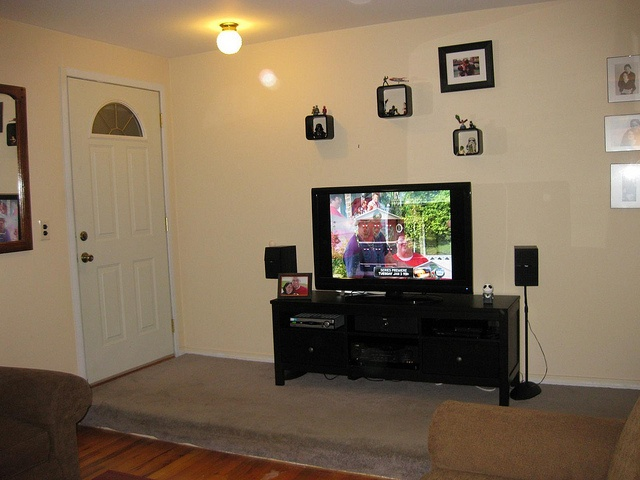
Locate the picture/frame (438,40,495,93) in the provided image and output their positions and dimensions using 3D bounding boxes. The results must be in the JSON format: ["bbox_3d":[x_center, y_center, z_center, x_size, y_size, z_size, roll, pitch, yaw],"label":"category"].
[{"bbox_3d":[1.171,-1.387,4.321,0.406,0.370,0.032,0,10,24],"label":"picture/frame"}]

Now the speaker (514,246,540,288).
[{"bbox_3d":[1.517,0.194,4.053,0.152,0.292,0.141,0,4,16],"label":"speaker"}]

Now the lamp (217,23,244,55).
[{"bbox_3d":[-0.717,-1.594,4.390,0.235,0.294,0.239,0,-1,-5],"label":"lamp"}]

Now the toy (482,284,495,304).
[{"bbox_3d":[1.250,0.404,4.083,0.105,0.192,0.095,-1,-5,26],"label":"toy"}]

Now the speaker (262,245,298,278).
[{"bbox_3d":[-0.320,0.185,4.689,0.296,0.264,0.200,-3,4,-21],"label":"speaker"}]

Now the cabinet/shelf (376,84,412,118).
[{"bbox_3d":[0.615,-1.147,4.494,0.251,0.247,0.095,3,8,31],"label":"cabinet/shelf"}]

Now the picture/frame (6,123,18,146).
[{"bbox_3d":[-2.332,-0.801,4.139,0.018,0.187,0.084,0,4,26],"label":"picture/frame"}]
